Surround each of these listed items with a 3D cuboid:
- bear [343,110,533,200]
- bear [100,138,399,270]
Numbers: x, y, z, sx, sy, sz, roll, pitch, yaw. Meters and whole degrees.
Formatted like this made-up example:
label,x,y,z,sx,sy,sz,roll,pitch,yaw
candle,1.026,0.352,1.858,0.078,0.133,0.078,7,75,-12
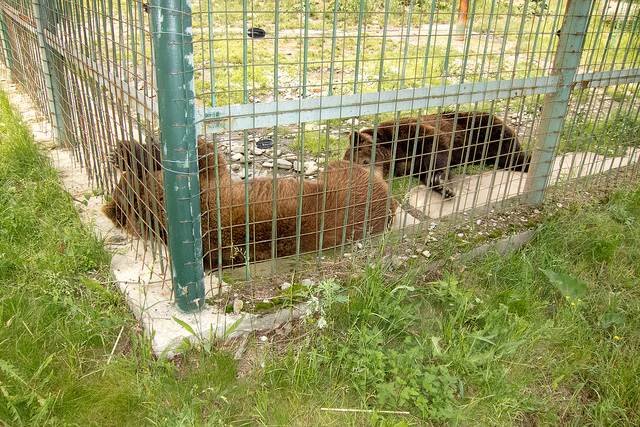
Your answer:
label,x,y,z,sx,sy,sz,roll,pitch,yaw
bear,1.648,-0.862,7.417,2.928,1.265,0.955,-14,3,-16
bear,-0.641,-0.055,5.295,2.750,1.305,1.491,6,-10,-7
